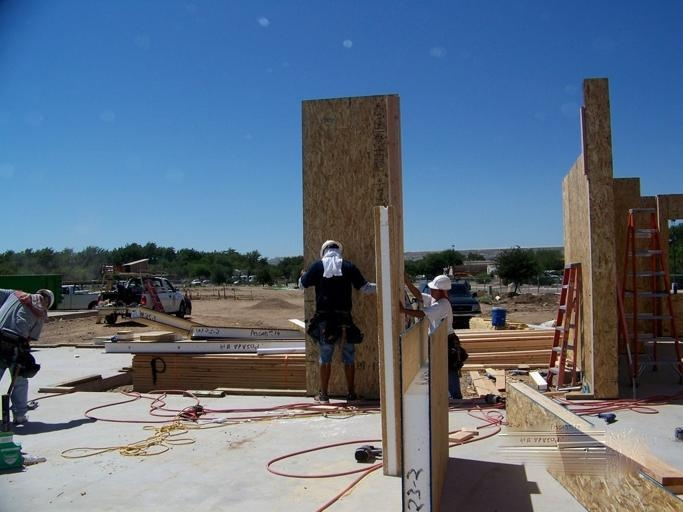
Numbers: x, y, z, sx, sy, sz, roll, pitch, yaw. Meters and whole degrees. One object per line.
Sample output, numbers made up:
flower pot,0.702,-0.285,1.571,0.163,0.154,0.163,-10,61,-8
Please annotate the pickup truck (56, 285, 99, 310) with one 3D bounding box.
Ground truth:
pickup truck,-13.855,2.207,28.751,2.504,1.139,1.537,1,0,-3

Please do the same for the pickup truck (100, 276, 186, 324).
pickup truck,-6.955,1.499,18.870,1.936,1.484,3.807,0,1,19

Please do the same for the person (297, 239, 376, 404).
person,-0.083,0.836,7.005,0.902,1.882,0.493,-1,0,2

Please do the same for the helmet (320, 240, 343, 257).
helmet,-0.143,-0.100,7.146,0.190,0.232,0.248,3,3,0

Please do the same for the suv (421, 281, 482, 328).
suv,3.790,1.518,18.704,1.237,1.271,3.062,1,0,-1

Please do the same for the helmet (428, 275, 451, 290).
helmet,1.239,0.334,6.823,0.233,0.125,0.182,9,2,9

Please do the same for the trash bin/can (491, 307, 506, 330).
trash bin/can,4.119,1.634,14.288,0.482,0.525,0.504,0,-3,-3
